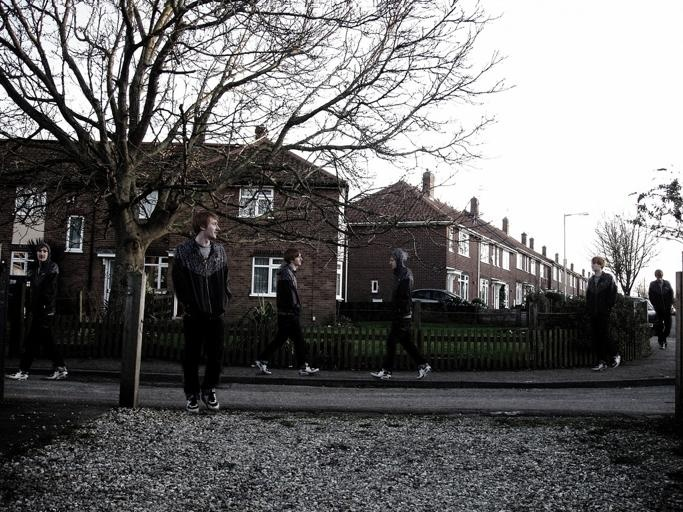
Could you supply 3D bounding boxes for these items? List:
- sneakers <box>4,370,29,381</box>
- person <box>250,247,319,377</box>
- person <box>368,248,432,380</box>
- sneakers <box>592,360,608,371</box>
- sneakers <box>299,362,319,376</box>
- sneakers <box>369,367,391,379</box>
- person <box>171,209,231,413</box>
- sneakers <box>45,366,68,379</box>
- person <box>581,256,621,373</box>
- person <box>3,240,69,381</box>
[{"bbox_3d":[-5.251,1.925,12.890,0.383,0.204,0.152,2,-3,0],"label":"sneakers"},{"bbox_3d":[-0.969,1.019,14.384,0.996,2.314,0.691,1,2,-2],"label":"person"},{"bbox_3d":[1.063,1.047,14.256,0.812,2.358,0.809,2,2,25],"label":"person"},{"bbox_3d":[5.079,2.217,15.974,0.202,0.169,0.399,-4,3,-20],"label":"sneakers"},{"bbox_3d":[-0.643,2.090,14.678,0.429,0.272,0.164,1,2,-5],"label":"sneakers"},{"bbox_3d":[0.646,2.116,14.333,0.407,0.220,0.152,2,-1,20],"label":"sneakers"},{"bbox_3d":[-1.855,0.752,10.523,0.733,2.661,0.451,1,2,-12],"label":"person"},{"bbox_3d":[-4.706,1.957,13.313,0.434,0.203,0.167,2,2,4],"label":"sneakers"},{"bbox_3d":[5.176,1.148,15.849,0.533,2.261,1.120,2,2,40],"label":"person"},{"bbox_3d":[-4.980,0.933,13.153,0.559,2.272,0.887,2,2,39],"label":"person"}]
